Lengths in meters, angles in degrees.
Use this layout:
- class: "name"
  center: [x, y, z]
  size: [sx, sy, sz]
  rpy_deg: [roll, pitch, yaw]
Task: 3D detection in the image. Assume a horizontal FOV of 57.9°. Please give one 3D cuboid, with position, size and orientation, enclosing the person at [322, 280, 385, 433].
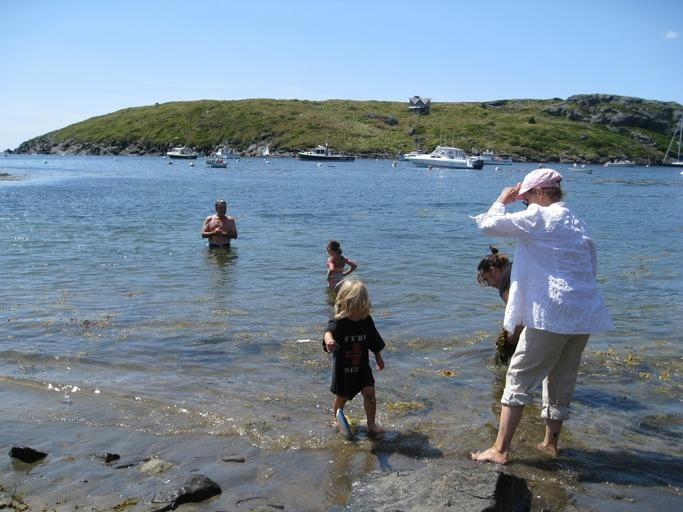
- class: "person"
  center: [0.145, 1.151, 7.097]
  size: [0.711, 1.786, 0.519]
  rpy_deg: [0, 11, -7]

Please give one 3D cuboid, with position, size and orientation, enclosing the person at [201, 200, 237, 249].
- class: "person"
  center: [-3.442, -0.909, 17.419]
  size: [0.904, 1.365, 1.554]
  rpy_deg: [-1, 9, -12]

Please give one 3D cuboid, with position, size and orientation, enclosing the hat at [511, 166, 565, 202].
- class: "hat"
  center: [2.038, -0.767, 6.444]
  size: [0.491, 0.182, 0.296]
  rpy_deg: [0, 9, 13]

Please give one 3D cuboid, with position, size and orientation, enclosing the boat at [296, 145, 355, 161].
- class: "boat"
  center: [-3.186, -19.331, 117.498]
  size: [8.092, 2.831, 7.090]
  rpy_deg: [-3, 9, -26]
